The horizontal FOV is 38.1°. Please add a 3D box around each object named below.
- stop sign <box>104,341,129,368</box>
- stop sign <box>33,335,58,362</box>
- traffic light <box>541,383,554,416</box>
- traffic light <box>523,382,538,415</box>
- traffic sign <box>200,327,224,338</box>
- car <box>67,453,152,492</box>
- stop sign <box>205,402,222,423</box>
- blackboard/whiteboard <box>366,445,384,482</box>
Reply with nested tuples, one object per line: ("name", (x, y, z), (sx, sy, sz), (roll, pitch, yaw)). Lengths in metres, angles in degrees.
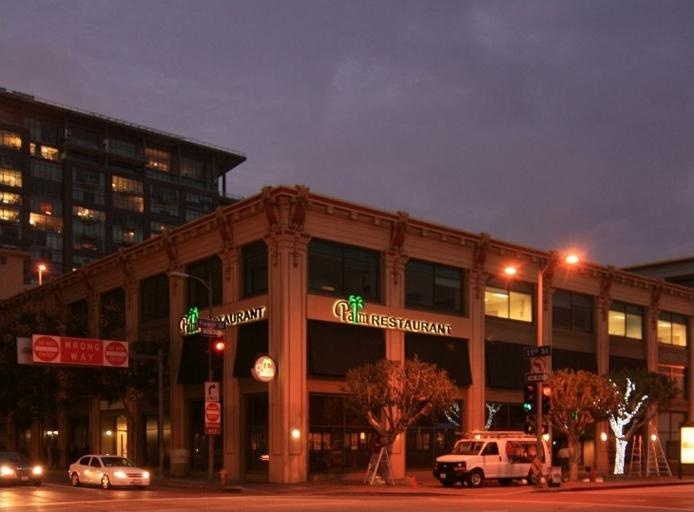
("stop sign", (-15.949, 6.825, 70.166), (1.715, 1.800, 0.229), (0, -4, -38))
("stop sign", (-20.212, 6.258, 67.906), (1.649, 1.689, 0.296), (0, -6, -43))
("traffic light", (12.818, 9.175, 64.924), (0.545, 1.900, 0.832), (-2, -17, 9))
("traffic light", (11.875, 9.024, 64.899), (0.870, 1.812, 1.110), (-3, -18, 13))
("traffic sign", (-8.670, 4.914, 65.186), (1.611, 0.441, 0.760), (12, -22, -30))
("car", (-15.076, 13.961, 65.013), (4.946, 2.137, 2.473), (-7, -11, 38))
("stop sign", (-8.617, 10.125, 65.470), (1.397, 1.739, 0.270), (3, -10, -25))
("blackboard/whiteboard", (1.951, 14.087, 67.441), (1.167, 2.498, 1.763), (0, -18, 2))
